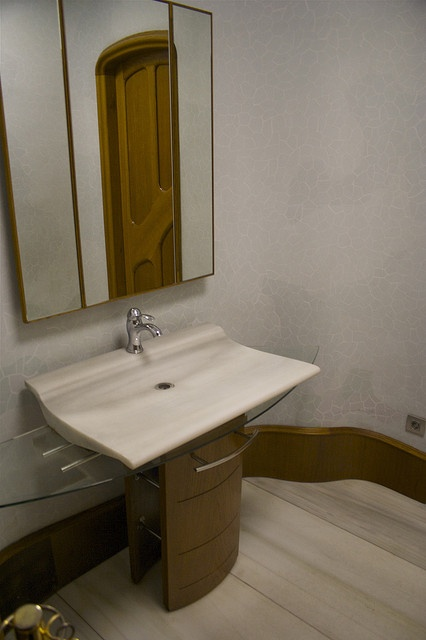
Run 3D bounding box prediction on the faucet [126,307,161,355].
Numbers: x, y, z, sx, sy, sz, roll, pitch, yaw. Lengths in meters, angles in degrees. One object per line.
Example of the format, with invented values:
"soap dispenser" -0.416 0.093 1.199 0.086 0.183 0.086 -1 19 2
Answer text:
"faucet" -0.197 0.037 1.399 0.121 0.131 0.046 14 21 29
